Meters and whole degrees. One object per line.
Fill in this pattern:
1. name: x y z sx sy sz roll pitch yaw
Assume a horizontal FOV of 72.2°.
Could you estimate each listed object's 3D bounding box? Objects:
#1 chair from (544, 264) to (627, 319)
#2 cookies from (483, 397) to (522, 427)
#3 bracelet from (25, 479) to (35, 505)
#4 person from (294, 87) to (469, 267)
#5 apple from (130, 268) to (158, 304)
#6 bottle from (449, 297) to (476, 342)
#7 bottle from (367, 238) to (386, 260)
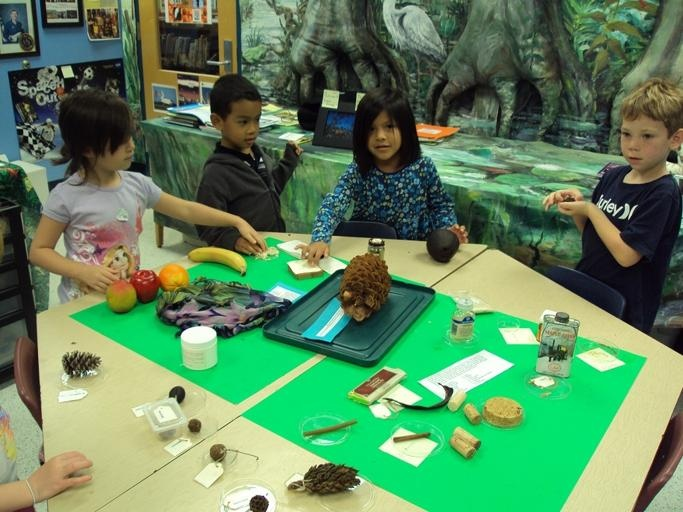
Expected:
1. chair: 1.080 0.146 2.104 0.203 0.228 0.331 26 -2 29
2. cookies: 0.468 0.456 1.364 0.110 0.044 0.088 -10 23 -28
3. bracelet: -0.749 0.566 1.122 0.012 0.049 0.043 -3 -3 -9
4. person: 0.295 -0.328 2.450 0.775 0.987 0.790 7 44 17
5. apple: -0.762 0.123 1.810 0.108 0.117 0.107 6 20 2
6. bottle: 0.433 0.233 1.672 0.098 0.181 0.065 -15 26 -29
7. bottle: 0.149 -0.029 2.029 0.061 0.099 0.062 -1 22 0
